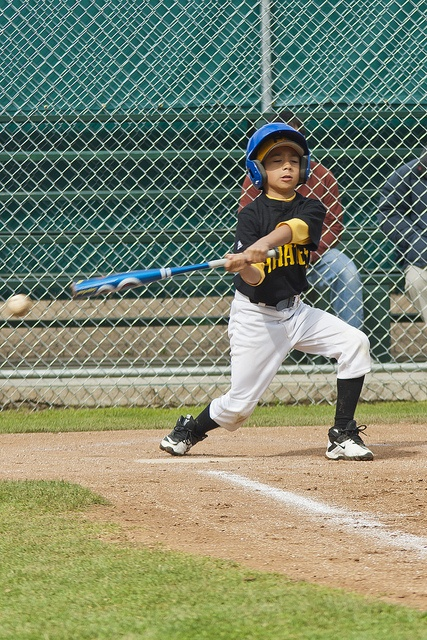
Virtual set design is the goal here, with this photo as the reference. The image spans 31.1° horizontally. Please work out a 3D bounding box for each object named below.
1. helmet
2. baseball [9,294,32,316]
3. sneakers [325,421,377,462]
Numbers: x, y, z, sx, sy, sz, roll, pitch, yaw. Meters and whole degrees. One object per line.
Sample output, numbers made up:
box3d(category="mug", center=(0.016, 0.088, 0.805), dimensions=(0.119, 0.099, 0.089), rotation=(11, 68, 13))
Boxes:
box3d(category="helmet", center=(0.190, -0.533, 2.606), dimensions=(0.228, 0.172, 0.238), rotation=(-1, -16, -9))
box3d(category="baseball", center=(-0.699, -0.054, 2.715), dimensions=(0.101, 0.060, 0.091), rotation=(-1, 6, 1))
box3d(category="sneakers", center=(0.462, 0.413, 2.634), dimensions=(0.150, 0.134, 0.170), rotation=(5, 1, 0))
